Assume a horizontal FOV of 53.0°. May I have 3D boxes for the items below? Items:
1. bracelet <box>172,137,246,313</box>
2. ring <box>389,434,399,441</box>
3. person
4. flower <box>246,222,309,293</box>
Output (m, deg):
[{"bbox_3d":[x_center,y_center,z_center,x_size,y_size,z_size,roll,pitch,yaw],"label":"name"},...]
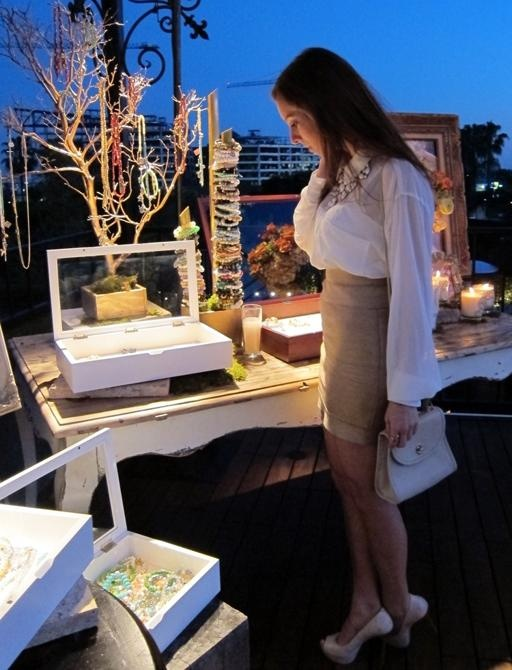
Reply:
[{"bbox_3d":[-0.182,-0.381,1.865,0.253,0.614,0.260,-6,23,-26],"label":"bracelet"},{"bbox_3d":[0.295,0.218,1.090,0.018,0.012,0.016,-2,5,-4],"label":"ring"},{"bbox_3d":[0.254,0.149,1.254,0.394,1.535,0.321,3,13,26],"label":"person"},{"bbox_3d":[0.066,-0.302,2.100,0.254,0.264,0.123,-16,31,-40],"label":"flower"}]
